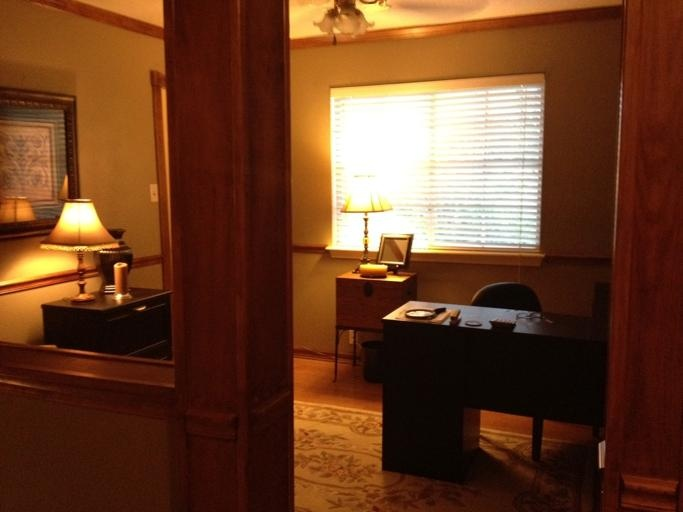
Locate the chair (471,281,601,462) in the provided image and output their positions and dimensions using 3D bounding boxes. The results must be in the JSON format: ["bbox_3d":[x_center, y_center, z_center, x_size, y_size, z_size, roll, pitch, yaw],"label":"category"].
[{"bbox_3d":[1.061,0.598,3.696,0.714,1.365,0.782,-1,-1,9],"label":"chair"}]

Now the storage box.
[{"bbox_3d":[0.244,0.351,4.654,0.523,0.402,0.313,3,7,19],"label":"storage box"}]

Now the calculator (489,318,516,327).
[{"bbox_3d":[0.840,0.344,3.123,0.128,0.037,0.158,3,9,18],"label":"calculator"}]

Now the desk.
[{"bbox_3d":[0.849,0.772,3.361,1.154,0.831,0.645,3,5,22],"label":"desk"}]

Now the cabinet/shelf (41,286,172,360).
[{"bbox_3d":[-0.845,0.224,2.147,0.551,0.230,0.080,3,8,16],"label":"cabinet/shelf"}]

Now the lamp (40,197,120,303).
[{"bbox_3d":[-0.984,-0.021,2.241,0.250,0.382,0.262,1,8,-6],"label":"lamp"}]

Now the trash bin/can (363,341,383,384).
[{"bbox_3d":[0.244,0.812,4.615,0.228,0.261,0.242,2,6,8],"label":"trash bin/can"}]

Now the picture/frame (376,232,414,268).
[{"bbox_3d":[0.420,-0.043,4.652,0.237,0.263,0.032,3,-11,27],"label":"picture/frame"}]

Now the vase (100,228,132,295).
[{"bbox_3d":[-0.841,0.026,2.218,0.128,0.247,0.146,-5,-1,32],"label":"vase"}]

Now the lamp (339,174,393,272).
[{"bbox_3d":[0.181,-0.251,4.572,0.323,0.561,0.325,4,-9,-40],"label":"lamp"}]
